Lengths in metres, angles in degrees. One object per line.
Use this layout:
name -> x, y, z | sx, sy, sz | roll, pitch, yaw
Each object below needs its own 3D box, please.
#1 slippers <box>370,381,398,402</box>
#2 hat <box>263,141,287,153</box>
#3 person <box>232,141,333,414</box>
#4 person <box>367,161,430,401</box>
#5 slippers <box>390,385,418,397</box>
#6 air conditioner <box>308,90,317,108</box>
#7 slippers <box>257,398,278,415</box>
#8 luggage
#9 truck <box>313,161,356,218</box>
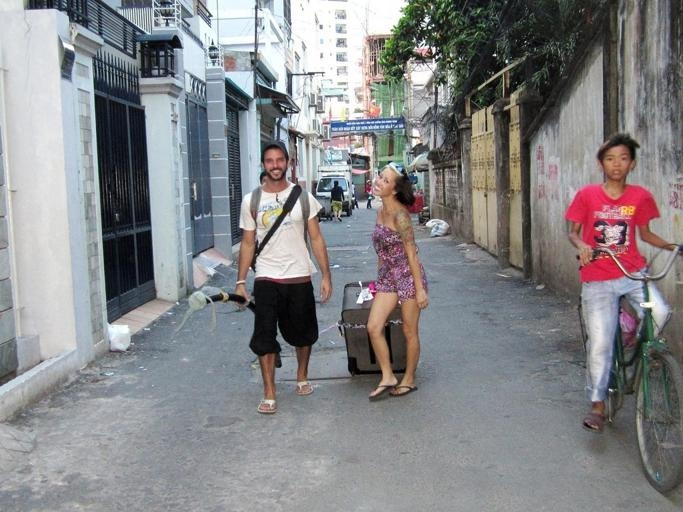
slippers -> 0.379, 1.221, 5.606 | 0.304, 0.119, 0.091 | -25, 50, -36
hat -> -0.592, -0.966, 5.436 | 0.202, 0.117, 0.236 | -3, 7, -7
person -> -0.520, 0.164, 5.479 | 0.840, 2.352, 0.583 | -3, 6, -11
person -> 0.507, 0.228, 5.608 | 0.537, 2.117, 0.449 | -1, 6, 6
slippers -> 0.567, 1.235, 5.619 | 0.186, 0.057, 0.099 | 1, -3, -30
air conditioner -> -2.275, -11.915, 46.214 | 0.451, 1.052, 1.526 | 0, 7, 16
slippers -> -0.654, 1.312, 5.340 | 0.172, 0.110, 0.168 | -3, 7, -9
luggage -> 0.359, 0.707, 6.306 | 0.721, 0.832, 1.070 | -4, 22, -1
truck -> -0.369, -4.199, 36.423 | 1.710, 2.784, 4.286 | -1, 2, 3
